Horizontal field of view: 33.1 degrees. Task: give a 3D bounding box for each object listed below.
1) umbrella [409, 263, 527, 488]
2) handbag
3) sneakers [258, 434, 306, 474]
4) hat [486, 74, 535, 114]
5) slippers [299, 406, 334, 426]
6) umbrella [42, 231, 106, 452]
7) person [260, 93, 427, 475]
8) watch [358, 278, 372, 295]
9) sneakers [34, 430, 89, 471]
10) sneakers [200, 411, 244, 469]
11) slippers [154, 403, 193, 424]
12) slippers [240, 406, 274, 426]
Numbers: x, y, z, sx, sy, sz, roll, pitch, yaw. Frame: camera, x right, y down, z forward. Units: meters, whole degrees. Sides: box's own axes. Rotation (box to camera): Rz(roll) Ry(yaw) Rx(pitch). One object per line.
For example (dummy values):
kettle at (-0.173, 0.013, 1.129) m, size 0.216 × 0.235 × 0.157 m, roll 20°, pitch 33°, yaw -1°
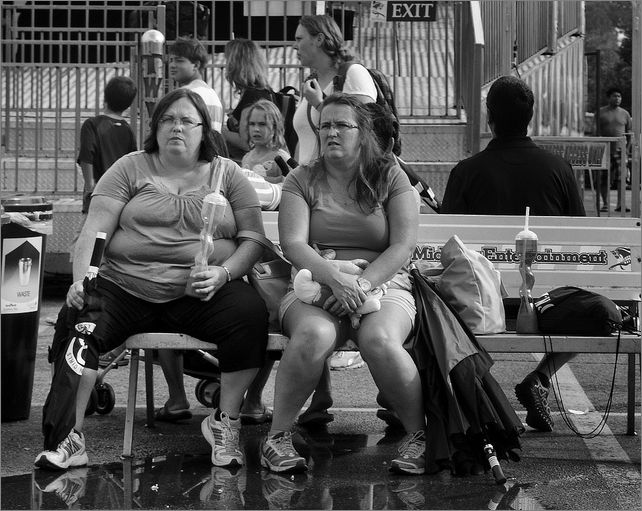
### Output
umbrella at (0.725, 0.690, 5.841) m, size 0.447 × 1.004 × 0.754 m, roll -6°, pitch 10°, yaw -43°
handbag at (0.874, 0.175, 6.153) m, size 0.194 × 0.552 × 0.494 m, roll -19°, pitch 45°, yaw 14°
sneakers at (-0.203, 1.085, 5.816) m, size 0.128 × 0.162 × 0.328 m, roll 5°, pitch -6°, yaw -35°
hat at (1.291, -1.090, 7.159) m, size 0.219 × 0.267 × 0.273 m, roll 3°, pitch 22°, yaw -3°
slippers at (-0.022, 1.032, 6.842) m, size 0.252 × 0.102 × 0.092 m, roll -3°, pitch -11°, yaw 7°
umbrella at (-1.366, 0.360, 5.922) m, size 0.336 × 0.955 × 0.414 m, roll -1°, pitch 7°, yaw -10°
person at (0.155, 0.119, 6.059) m, size 0.899 × 2.052 × 0.840 m, roll 1°, pitch 7°, yaw 1°
watch at (0.250, 0.175, 5.979) m, size 0.071 × 0.089 × 0.023 m, roll -31°, pitch -5°, yaw -34°
sneakers at (-1.381, 1.074, 5.809) m, size 0.129 × 0.182 × 0.361 m, roll -2°, pitch -13°, yaw 21°
sneakers at (-0.541, 1.009, 5.931) m, size 0.233 × 0.298 × 0.191 m, roll 0°, pitch 7°, yaw -8°
slippers at (-0.944, 1.023, 6.855) m, size 0.235 × 0.089 × 0.097 m, roll 1°, pitch -2°, yaw 17°
slippers at (-0.414, 1.028, 6.858) m, size 0.102 × 0.122 × 0.264 m, roll -1°, pitch -1°, yaw 35°
